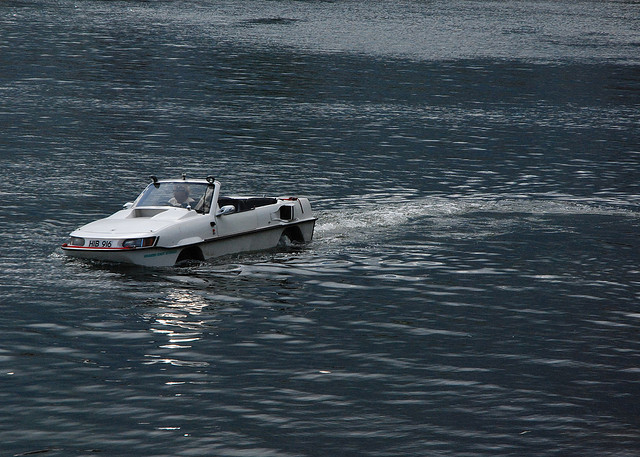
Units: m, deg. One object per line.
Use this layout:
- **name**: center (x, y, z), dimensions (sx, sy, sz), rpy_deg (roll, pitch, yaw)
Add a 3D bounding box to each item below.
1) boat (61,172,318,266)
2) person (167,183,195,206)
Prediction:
- **boat**: center (-3.124, -0.017, 30.147), dimensions (5.243, 0.875, 2.643), rpy_deg (-11, 8, -29)
- **person**: center (-3.889, -0.961, 30.137), dimensions (1.199, 0.484, 0.490), rpy_deg (-2, 63, 8)
